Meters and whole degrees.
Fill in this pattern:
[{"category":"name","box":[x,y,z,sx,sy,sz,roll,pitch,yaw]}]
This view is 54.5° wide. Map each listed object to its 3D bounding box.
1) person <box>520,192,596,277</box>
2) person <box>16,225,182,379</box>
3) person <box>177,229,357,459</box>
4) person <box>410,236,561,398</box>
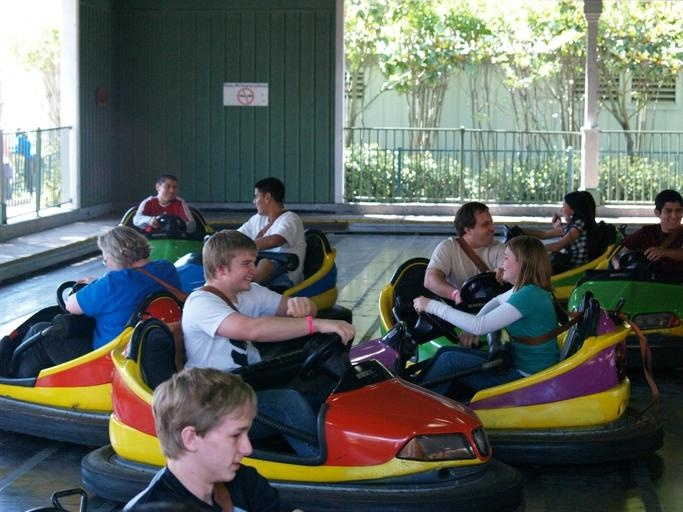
[{"category":"person","box":[1.692,-0.113,5.212,0.580,0.800,0.412,4,8,16]},{"category":"person","box":[-1.259,0.281,3.340,0.778,0.986,0.430,9,11,23]},{"category":"person","box":[-0.280,0.390,2.569,0.629,0.970,0.410,4,15,24]},{"category":"person","box":[0.614,0.350,3.083,0.760,0.851,0.530,-1,-1,14]}]
